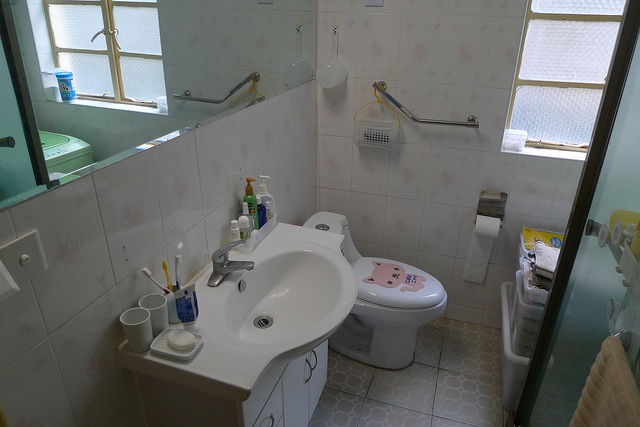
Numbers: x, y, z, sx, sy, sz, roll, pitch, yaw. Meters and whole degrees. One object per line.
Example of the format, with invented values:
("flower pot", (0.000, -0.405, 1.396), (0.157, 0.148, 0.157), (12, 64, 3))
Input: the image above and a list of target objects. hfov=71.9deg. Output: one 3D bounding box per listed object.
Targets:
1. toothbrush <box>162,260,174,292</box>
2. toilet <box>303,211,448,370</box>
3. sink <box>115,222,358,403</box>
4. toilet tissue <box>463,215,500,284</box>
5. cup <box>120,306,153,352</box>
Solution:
("toothbrush", (-0.616, 0.268, 1.797), (0.024, 0.182, 0.008), (-5, 31, 5))
("toilet", (0.347, 0.525, 2.867), (0.907, 0.839, 0.580), (8, 25, 19))
("sink", (-0.236, 0.405, 1.954), (0.687, 0.270, 1.082), (15, 29, 26))
("toilet tissue", (0.998, 0.226, 2.813), (0.113, 0.379, 0.217), (18, 39, 18))
("cup", (-0.692, 0.437, 1.661), (0.114, 0.181, 0.113), (1, 39, -1))
